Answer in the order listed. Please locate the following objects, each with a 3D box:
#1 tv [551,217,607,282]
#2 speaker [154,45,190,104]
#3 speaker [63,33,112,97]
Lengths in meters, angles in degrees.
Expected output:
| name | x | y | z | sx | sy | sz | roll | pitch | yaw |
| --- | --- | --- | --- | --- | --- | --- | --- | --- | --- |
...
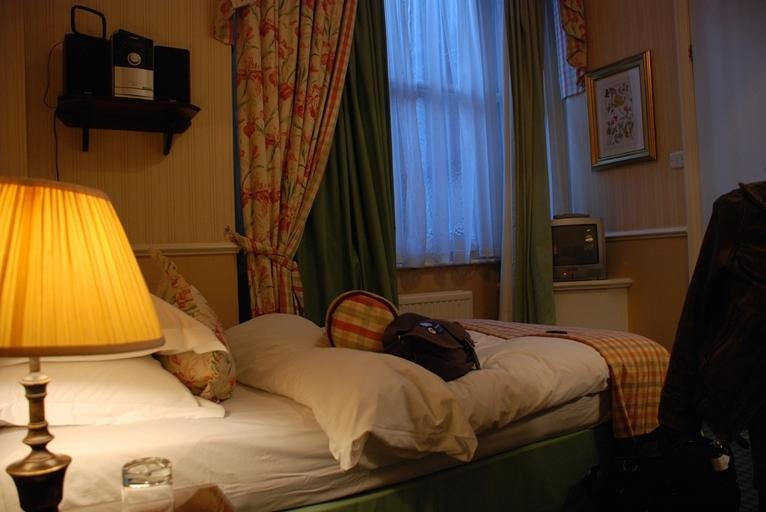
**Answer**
| name | x | y | z | sx | sy | sz | roll | pitch | yaw |
| --- | --- | --- | --- | --- | --- | --- | --- | --- | --- |
| tv | 1.634 | 0.041 | 4.878 | 0.466 | 0.677 | 0.409 | -5 | -36 | 24 |
| speaker | -1.150 | -0.939 | 3.177 | 0.200 | 0.367 | 0.198 | 2 | -23 | -24 |
| speaker | -1.541 | -1.014 | 2.979 | 0.195 | 0.307 | 0.166 | -5 | 33 | -37 |
